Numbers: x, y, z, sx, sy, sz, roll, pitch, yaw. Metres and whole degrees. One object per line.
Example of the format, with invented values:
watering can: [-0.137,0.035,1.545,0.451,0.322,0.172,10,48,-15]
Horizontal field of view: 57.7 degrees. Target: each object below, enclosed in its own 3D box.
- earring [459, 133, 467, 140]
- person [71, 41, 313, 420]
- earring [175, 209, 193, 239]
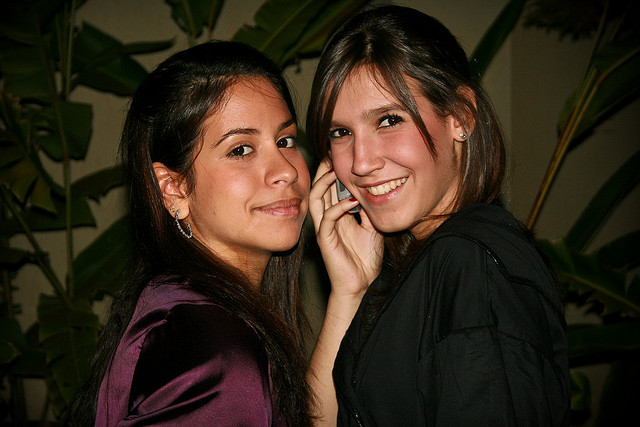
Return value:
earring: [0.826,-0.451,3.363,0.025,0.037,0.013,2,6,8]
person: [-0.583,0.116,3.408,1.191,2.103,0.908,6,-24,-19]
earring: [-0.785,0.057,3.389,0.107,0.146,0.035,-9,11,45]
